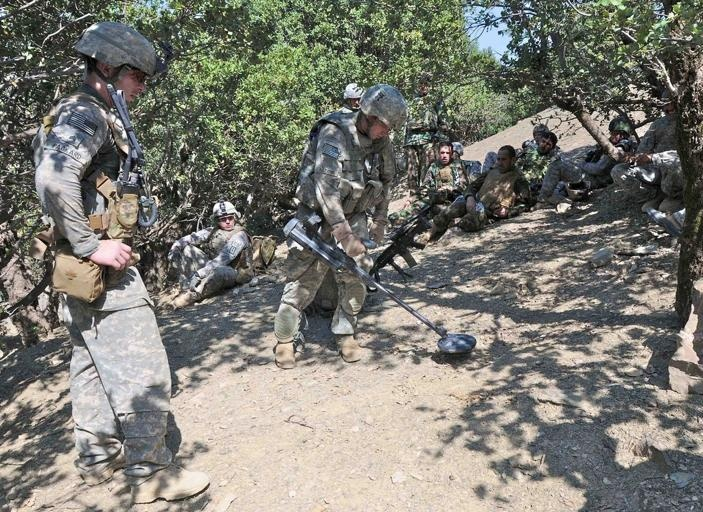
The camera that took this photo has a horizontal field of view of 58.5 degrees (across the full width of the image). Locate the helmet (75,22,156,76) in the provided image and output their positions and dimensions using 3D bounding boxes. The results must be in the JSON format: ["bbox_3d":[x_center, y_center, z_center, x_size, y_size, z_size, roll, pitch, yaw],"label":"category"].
[{"bbox_3d":[-1.668,-1.439,4.465,0.475,0.265,0.337,16,20,-28],"label":"helmet"}]

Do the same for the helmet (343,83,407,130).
[{"bbox_3d":[0.244,-1.323,5.572,0.439,0.340,0.338,38,23,2],"label":"helmet"}]

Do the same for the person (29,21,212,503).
[{"bbox_3d":[-1.695,0.045,4.419,0.915,3.354,0.871,-7,12,-15],"label":"person"}]

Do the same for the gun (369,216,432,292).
[{"bbox_3d":[0.607,0.005,7.886,0.567,1.052,0.318,38,5,-9],"label":"gun"}]

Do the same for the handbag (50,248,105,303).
[{"bbox_3d":[-1.877,0.127,4.326,0.331,0.296,0.165,14,9,7],"label":"handbag"}]
